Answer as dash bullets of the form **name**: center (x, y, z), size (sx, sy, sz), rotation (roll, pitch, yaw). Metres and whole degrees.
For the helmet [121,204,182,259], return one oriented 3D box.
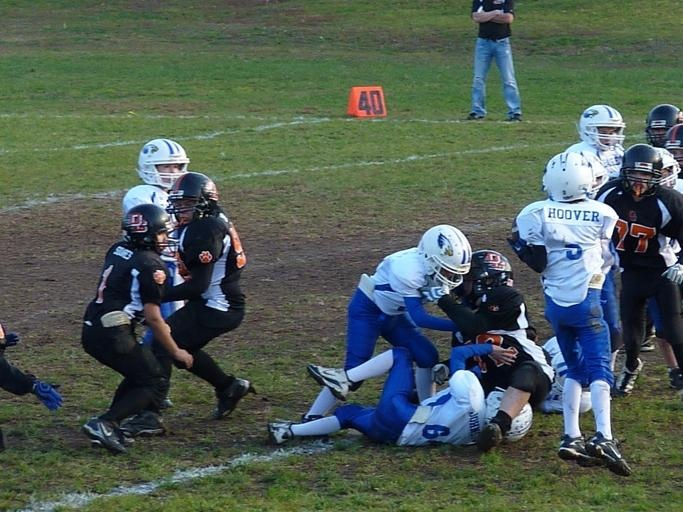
- **helmet**: center (-1.698, -0.236, 9.293), size (0.422, 0.448, 0.233), rotation (-6, 19, -7)

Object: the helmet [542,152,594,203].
- **helmet**: center (2.092, -0.700, 9.370), size (0.576, 0.341, 0.569), rotation (6, 27, 25)

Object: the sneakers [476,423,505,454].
- **sneakers**: center (1.283, 1.557, 8.893), size (0.213, 0.260, 0.132), rotation (26, 31, -1)

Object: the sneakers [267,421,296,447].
- **sneakers**: center (-0.503, 1.565, 9.327), size (0.231, 0.184, 0.252), rotation (-4, 14, -4)
